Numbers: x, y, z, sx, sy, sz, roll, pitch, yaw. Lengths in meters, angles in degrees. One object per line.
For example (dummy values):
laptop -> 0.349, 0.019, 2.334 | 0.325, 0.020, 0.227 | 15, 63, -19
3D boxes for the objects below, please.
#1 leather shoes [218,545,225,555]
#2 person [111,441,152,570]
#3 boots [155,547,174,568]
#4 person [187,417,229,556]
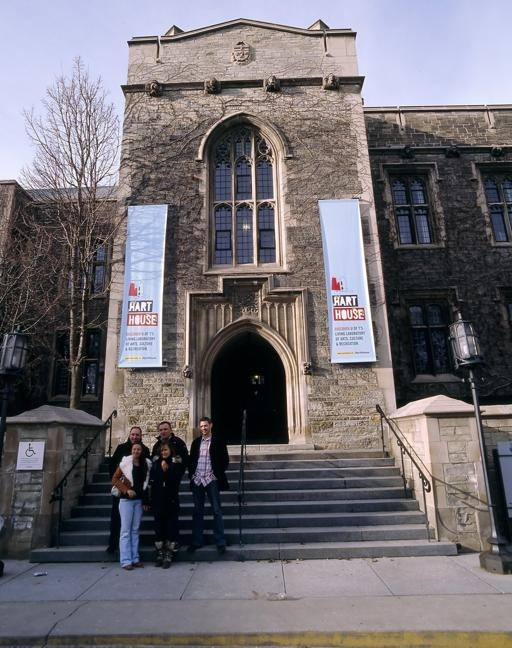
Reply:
leather shoes -> -0.451, 2.986, 6.090 | 0.117, 0.152, 0.093 | 0, -14, -8
person -> -1.602, 2.363, 6.020 | 0.485, 1.505, 0.285 | 3, -15, -20
boots -> -1.158, 2.980, 5.859 | 0.195, 0.189, 0.278 | -1, -14, -7
person -> -0.656, 2.258, 6.359 | 0.527, 1.664, 0.345 | -3, -14, 2
